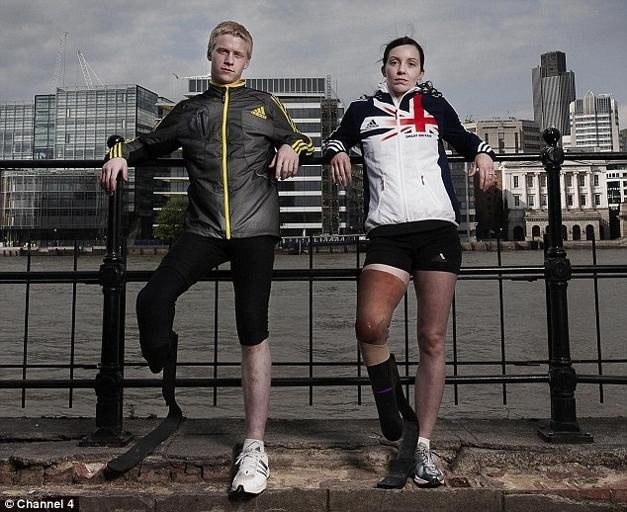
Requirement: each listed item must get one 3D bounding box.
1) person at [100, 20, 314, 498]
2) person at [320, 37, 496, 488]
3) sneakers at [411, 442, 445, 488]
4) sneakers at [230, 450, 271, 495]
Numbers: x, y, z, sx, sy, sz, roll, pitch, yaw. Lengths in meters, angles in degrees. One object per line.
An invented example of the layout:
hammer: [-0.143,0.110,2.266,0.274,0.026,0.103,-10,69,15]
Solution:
person: [-0.579,-0.037,6.026,1.180,2.814,0.784,-2,3,0]
person: [0.598,-0.008,6.034,0.969,2.684,0.707,-2,3,-7]
sneakers: [0.674,1.232,5.853,0.189,0.232,0.209,-1,3,3]
sneakers: [-0.380,1.262,5.774,0.225,0.248,0.223,-2,3,-4]
